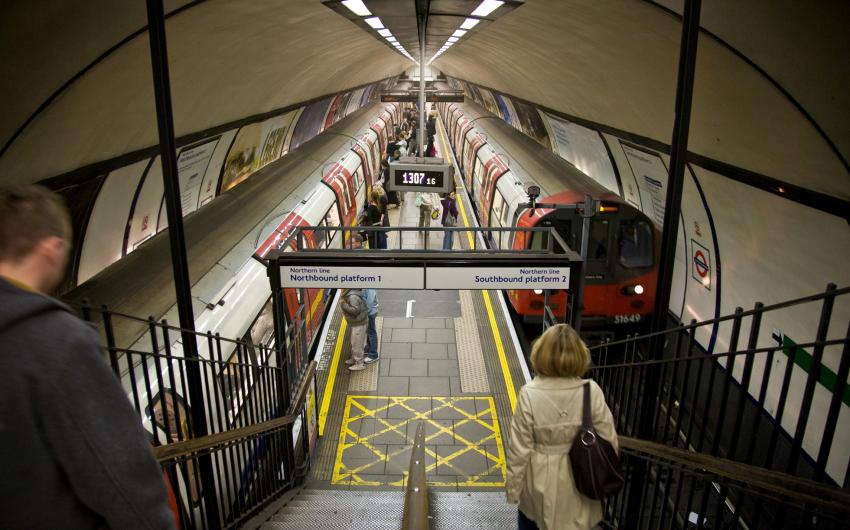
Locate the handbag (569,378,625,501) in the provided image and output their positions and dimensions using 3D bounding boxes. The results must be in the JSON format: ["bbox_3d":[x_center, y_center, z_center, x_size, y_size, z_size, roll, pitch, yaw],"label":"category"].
[{"bbox_3d":[1.250,1.310,3.466,0.375,0.900,0.210,2,-6,-11],"label":"handbag"}]

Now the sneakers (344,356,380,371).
[{"bbox_3d":[-1.282,1.941,9.190,0.678,0.276,0.223,3,6,-27],"label":"sneakers"}]
